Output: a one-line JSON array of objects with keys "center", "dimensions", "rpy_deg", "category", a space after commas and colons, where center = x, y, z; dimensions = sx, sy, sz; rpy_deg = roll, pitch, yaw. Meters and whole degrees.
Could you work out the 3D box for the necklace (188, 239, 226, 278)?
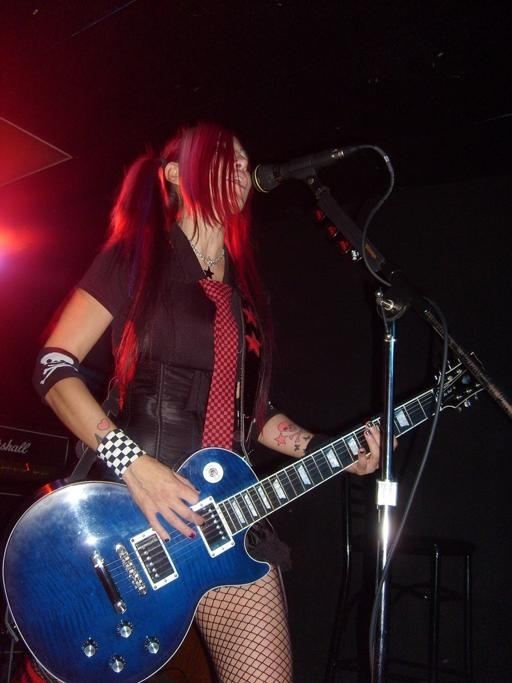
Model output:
[{"center": [-0.167, -0.283, 2.042], "dimensions": [0.051, 0.150, 0.095], "rpy_deg": [-24, -28, 31], "category": "necklace"}]
